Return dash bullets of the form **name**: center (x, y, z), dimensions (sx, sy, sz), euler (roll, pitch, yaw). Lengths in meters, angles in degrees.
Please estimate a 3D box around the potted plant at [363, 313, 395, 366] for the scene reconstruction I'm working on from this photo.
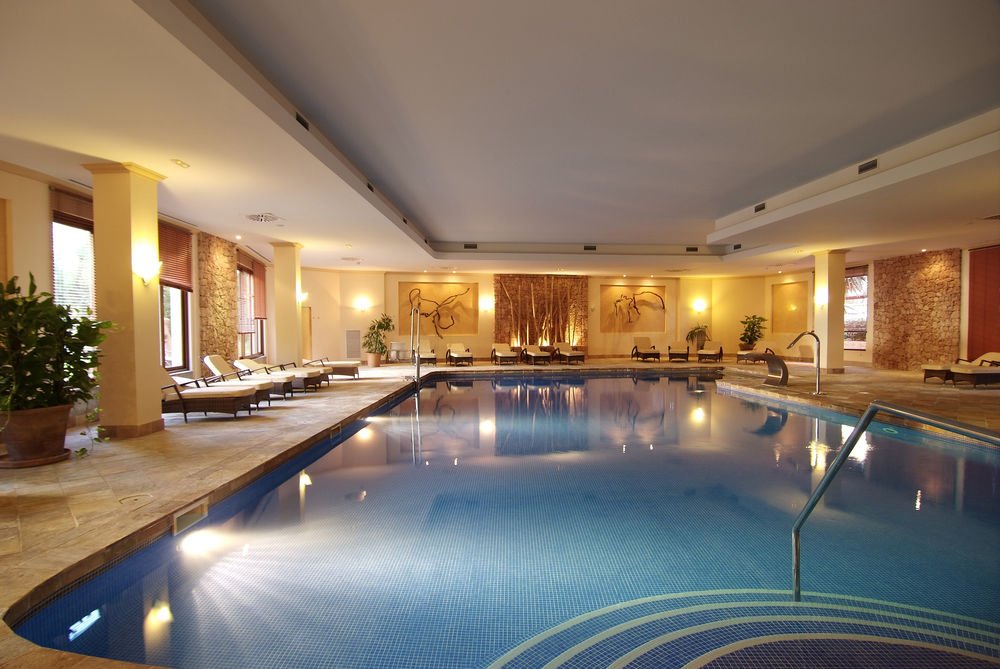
- **potted plant**: center (-4.031, 0.185, 19.499), dimensions (0.929, 1.657, 1.518), euler (-3, 10, -10)
